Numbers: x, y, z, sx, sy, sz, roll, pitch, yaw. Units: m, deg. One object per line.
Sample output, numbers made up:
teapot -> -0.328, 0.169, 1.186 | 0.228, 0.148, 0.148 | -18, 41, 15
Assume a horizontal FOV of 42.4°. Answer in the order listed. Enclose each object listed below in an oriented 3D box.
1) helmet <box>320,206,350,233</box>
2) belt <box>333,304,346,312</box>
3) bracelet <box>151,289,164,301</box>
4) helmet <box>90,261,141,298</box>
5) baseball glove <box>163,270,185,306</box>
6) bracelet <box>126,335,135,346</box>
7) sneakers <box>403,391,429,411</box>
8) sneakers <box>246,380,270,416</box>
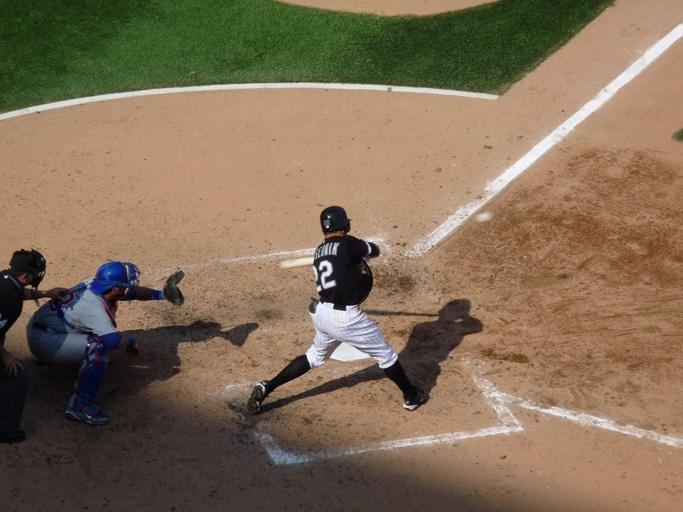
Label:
helmet -> -0.107, -0.466, 11.107 | 0.354, 0.321, 0.370 | -1, 14, 24
belt -> -0.016, 0.623, 10.795 | 0.159, 0.059, 0.062 | 9, 48, 1
bracelet -> -2.412, 0.509, 11.676 | 0.159, 0.139, 0.091 | -1, 90, 5
helmet -> -2.860, 0.259, 11.207 | 0.590, 0.254, 0.375 | -16, 37, -24
baseball glove -> -2.268, 0.455, 12.059 | 0.195, 0.225, 0.491 | 31, 81, 3
bracelet -> -2.706, 1.071, 11.374 | 0.061, 0.088, 0.124 | -9, 37, -39
sneakers -> 0.941, 1.859, 11.185 | 0.160, 0.154, 0.376 | 12, 36, 29
sneakers -> -1.078, 1.796, 11.205 | 0.237, 0.461, 0.212 | -19, 53, -43
